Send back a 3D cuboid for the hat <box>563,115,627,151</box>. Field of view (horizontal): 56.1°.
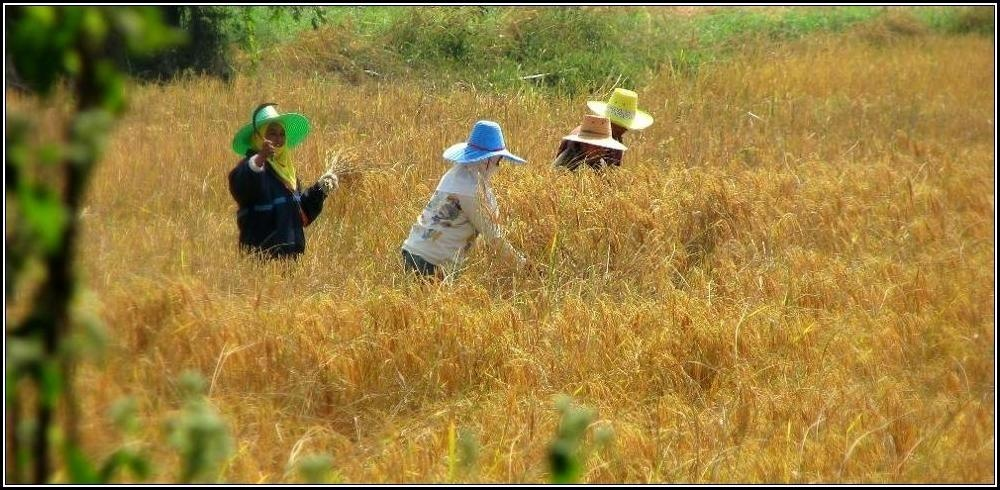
[{"bbox_3d":[1.355,-1.676,13.711,1.057,0.474,1.033,7,21,8],"label":"hat"}]

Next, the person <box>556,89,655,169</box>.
[{"bbox_3d":[1.861,-1.996,14.469,1.416,0.781,2.029,24,6,4],"label":"person"}]

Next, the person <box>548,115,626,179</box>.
[{"bbox_3d":[1.237,-1.455,13.528,1.089,0.417,0.729,-2,3,2],"label":"person"}]

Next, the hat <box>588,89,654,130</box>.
[{"bbox_3d":[1.869,-2.182,14.339,0.991,0.350,0.997,7,30,-20],"label":"hat"}]
